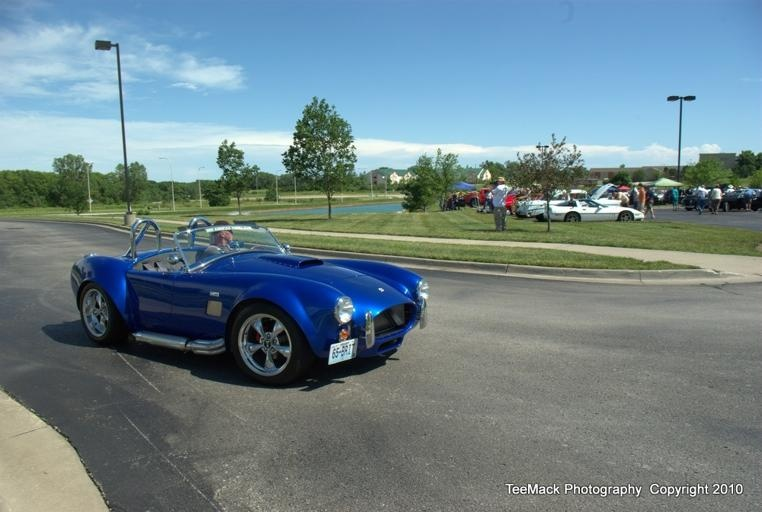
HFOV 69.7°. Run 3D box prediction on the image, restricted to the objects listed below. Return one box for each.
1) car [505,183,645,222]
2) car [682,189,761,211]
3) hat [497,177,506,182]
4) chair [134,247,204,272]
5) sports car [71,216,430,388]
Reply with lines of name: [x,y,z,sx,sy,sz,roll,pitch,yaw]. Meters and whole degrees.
car: [10.474,-2.419,28.754,5.981,1.114,3.126,3,9,23]
car: [23.328,-3.802,37.228,2.018,1.030,3.138,-9,-1,-42]
hat: [4.677,-2.999,21.321,0.317,0.143,0.452,2,9,19]
chair: [-2.866,0.056,7.447,0.648,0.238,0.486,-2,1,43]
sports car: [-1.945,0.419,7.618,4.946,1.848,2.222,4,9,28]
